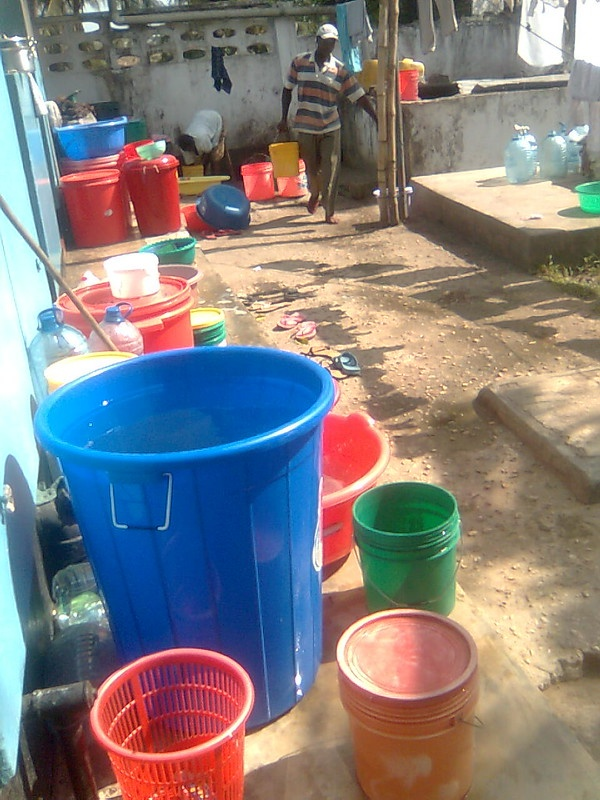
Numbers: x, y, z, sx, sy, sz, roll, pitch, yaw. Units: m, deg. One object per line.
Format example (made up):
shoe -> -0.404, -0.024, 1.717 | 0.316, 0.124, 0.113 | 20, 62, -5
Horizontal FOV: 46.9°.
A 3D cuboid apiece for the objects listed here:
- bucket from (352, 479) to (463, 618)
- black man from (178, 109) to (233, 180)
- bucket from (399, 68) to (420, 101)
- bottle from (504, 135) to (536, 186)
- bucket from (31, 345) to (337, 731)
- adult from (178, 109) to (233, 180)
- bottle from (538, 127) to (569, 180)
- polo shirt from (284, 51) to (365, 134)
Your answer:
bucket -> 0.349, 0.499, 2.224 | 0.338, 0.422, 0.305 | -19, 25, -27
black man -> -1.502, -4.171, 11.310 | 0.627, 0.836, 1.704 | -10, 21, 9
bucket -> 1.424, -4.110, 9.083 | 0.220, 0.362, 0.367 | -5, 22, 5
bottle -> 2.528, -2.766, 7.994 | 0.322, 0.512, 0.319 | -6, 22, 3
bucket -> -0.177, 0.318, 1.789 | 0.693, 0.774, 0.661 | -3, 23, 1
adult -> -1.513, -4.154, 11.310 | 0.627, 0.836, 1.704 | -10, 21, 9
bottle -> 2.967, -2.857, 8.129 | 0.305, 0.511, 0.442 | 1, 23, 19
polo shirt -> 0.260, -3.467, 7.815 | 0.932, 0.809, 0.430 | 6, 31, 4
